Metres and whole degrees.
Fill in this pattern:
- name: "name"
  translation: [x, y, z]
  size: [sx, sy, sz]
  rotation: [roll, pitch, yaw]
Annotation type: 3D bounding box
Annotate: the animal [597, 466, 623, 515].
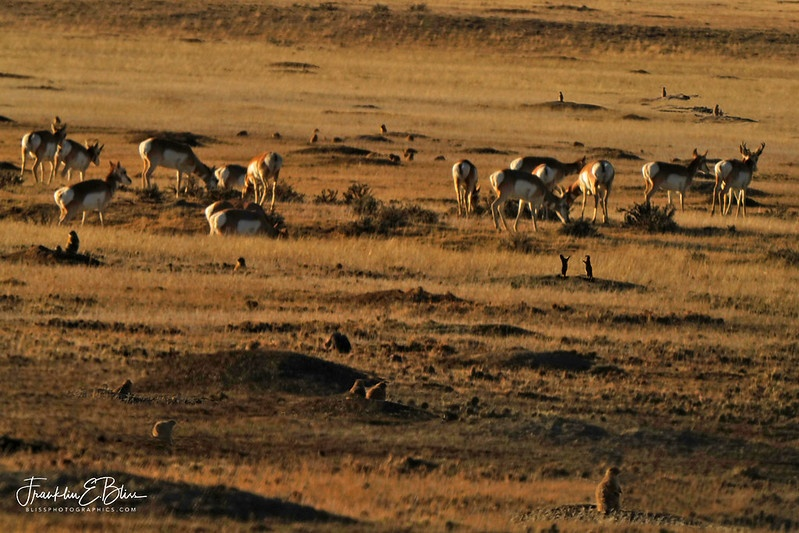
- name: "animal"
  translation: [7.617, 8.181, 61.247]
  size: [1.052, 1.600, 0.839]
  rotation: [-1, 7, -15]
